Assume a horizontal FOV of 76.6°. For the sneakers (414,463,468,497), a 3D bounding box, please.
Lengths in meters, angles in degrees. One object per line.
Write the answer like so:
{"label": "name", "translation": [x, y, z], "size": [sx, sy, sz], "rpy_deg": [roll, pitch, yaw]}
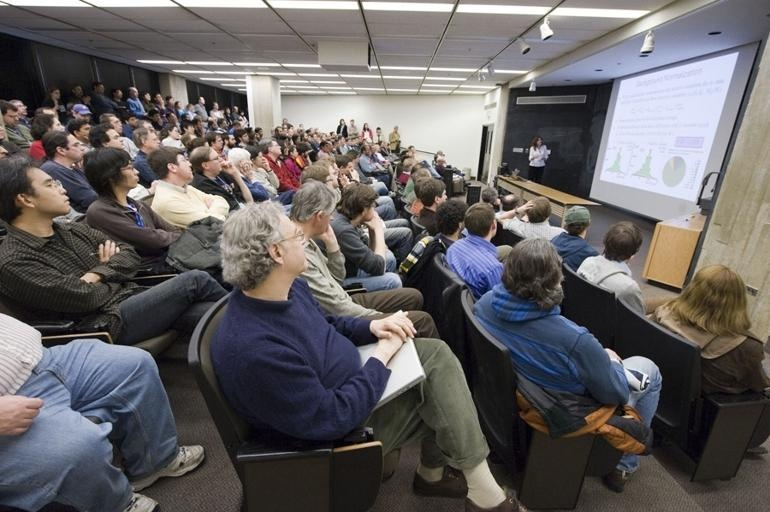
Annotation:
{"label": "sneakers", "translation": [0.356, 1.397, 3.052], "size": [0.371, 0.163, 0.148], "rpy_deg": [-2, 5, 1]}

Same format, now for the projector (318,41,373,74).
{"label": "projector", "translation": [-0.680, -3.367, 8.130], "size": [0.860, 0.446, 0.588], "rpy_deg": [2, 20, -8]}

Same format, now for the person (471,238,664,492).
{"label": "person", "translation": [1.248, 0.742, 3.276], "size": [1.098, 1.784, 1.065], "rpy_deg": [-11, 17, -24]}

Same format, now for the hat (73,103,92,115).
{"label": "hat", "translation": [-4.824, -2.357, 7.766], "size": [0.333, 0.127, 0.229], "rpy_deg": [21, 18, 18]}

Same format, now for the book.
{"label": "book", "translation": [0.048, 0.591, 2.626], "size": [0.399, 0.079, 0.379], "rpy_deg": [-32, 38, 7]}

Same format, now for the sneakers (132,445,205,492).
{"label": "sneakers", "translation": [-1.355, 1.302, 3.057], "size": [0.414, 0.194, 0.166], "rpy_deg": [-16, 20, -36]}

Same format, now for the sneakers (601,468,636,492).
{"label": "sneakers", "translation": [1.516, 1.440, 3.176], "size": [0.232, 0.099, 0.099], "rpy_deg": [-2, 7, -34]}
